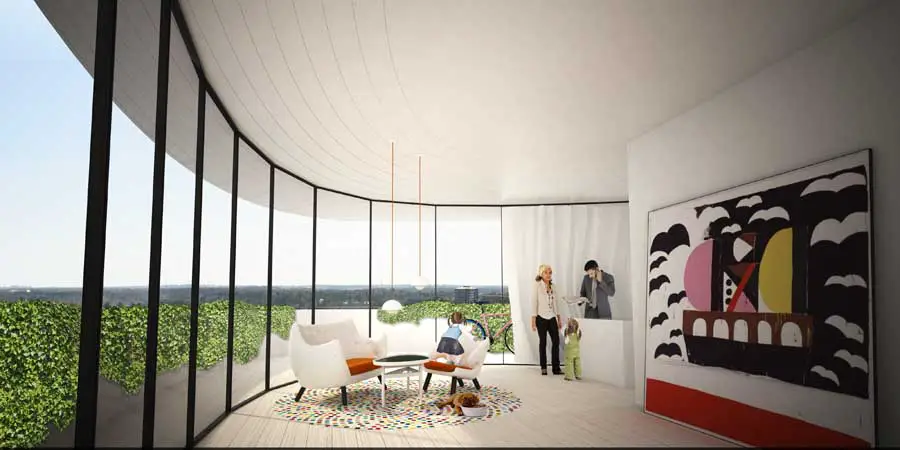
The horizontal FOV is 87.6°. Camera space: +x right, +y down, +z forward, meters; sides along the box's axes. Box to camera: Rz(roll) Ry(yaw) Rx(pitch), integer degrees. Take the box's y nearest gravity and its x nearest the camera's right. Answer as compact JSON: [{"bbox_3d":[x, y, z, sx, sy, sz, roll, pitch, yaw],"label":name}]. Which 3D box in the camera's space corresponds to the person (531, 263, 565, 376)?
[{"bbox_3d":[2.155,2.048,10.422,0.652,2.300,0.761,1,-1,-11],"label":"person"}]

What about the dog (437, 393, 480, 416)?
[{"bbox_3d":[0.173,2.838,7.581,0.360,0.232,0.543,11,-15,-26],"label":"dog"}]

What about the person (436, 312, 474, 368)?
[{"bbox_3d":[0.128,2.054,8.643,0.746,0.938,0.666,-4,-3,11],"label":"person"}]

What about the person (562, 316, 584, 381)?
[{"bbox_3d":[2.470,2.493,9.488,0.311,1.272,0.537,0,-1,20],"label":"person"}]

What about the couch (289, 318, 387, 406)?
[{"bbox_3d":[-2.021,2.390,8.554,1.306,1.241,1.799,-6,-9,21],"label":"couch"}]

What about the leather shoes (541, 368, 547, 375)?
[{"bbox_3d":[2.016,3.118,10.064,0.103,0.116,0.118,0,-5,4],"label":"leather shoes"}]
